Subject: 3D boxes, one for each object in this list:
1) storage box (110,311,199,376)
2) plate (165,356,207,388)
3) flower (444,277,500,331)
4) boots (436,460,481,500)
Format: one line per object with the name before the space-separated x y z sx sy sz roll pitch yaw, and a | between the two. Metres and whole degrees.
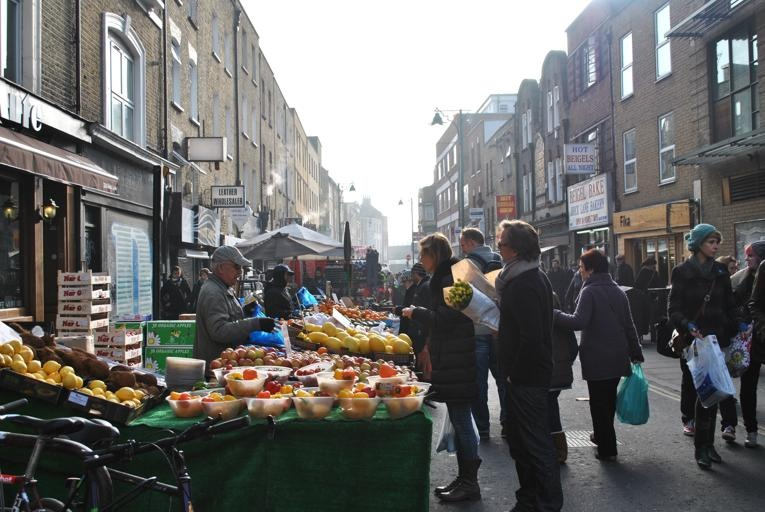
storage box | -3.522 1.365 10.204 0.806 1.296 1.505 0 0 -1
plate | -1.891 1.131 6.382 0.308 0.250 0.319 -3 -8 44
flower | 0.905 0.528 6.751 0.245 0.396 0.615 -26 -55 39
boots | 0.836 2.466 7.177 0.596 0.498 0.274 1 -6 2
